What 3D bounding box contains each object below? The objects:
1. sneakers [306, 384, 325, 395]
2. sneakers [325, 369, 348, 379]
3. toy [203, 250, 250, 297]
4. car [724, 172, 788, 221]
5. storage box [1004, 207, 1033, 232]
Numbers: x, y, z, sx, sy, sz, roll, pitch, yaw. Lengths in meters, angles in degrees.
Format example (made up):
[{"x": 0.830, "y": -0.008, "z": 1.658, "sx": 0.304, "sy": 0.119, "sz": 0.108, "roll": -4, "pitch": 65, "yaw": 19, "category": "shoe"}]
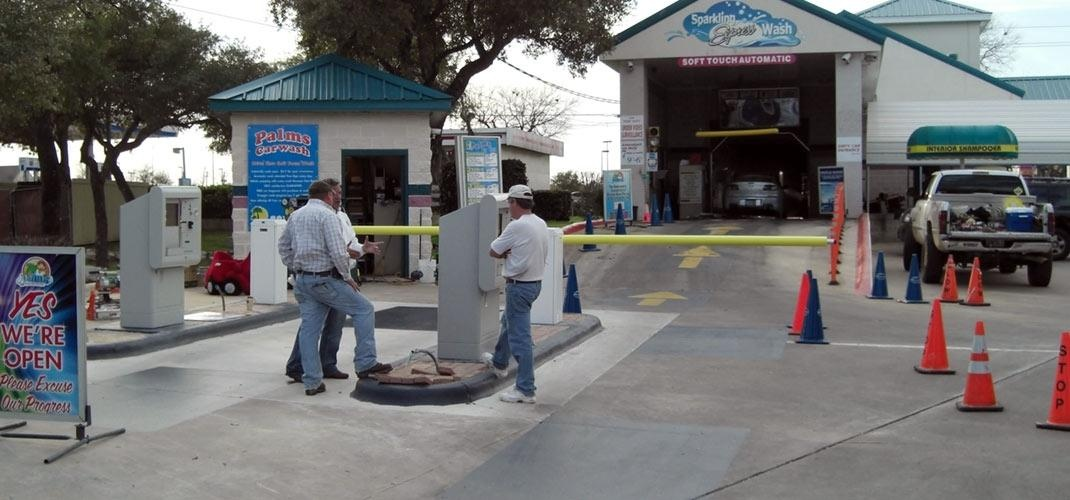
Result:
[{"x": -5.366, "y": 3.467, "z": 20.891, "sx": 0.429, "sy": 0.271, "sz": 0.213, "roll": -18, "pitch": 21, "yaw": -16, "category": "sneakers"}, {"x": -5.054, "y": 3.135, "z": 21.464, "sx": 0.685, "sy": 0.268, "sz": 0.223, "roll": 2, "pitch": 1, "yaw": -6, "category": "sneakers"}, {"x": -9.813, "y": 0.844, "z": 27.303, "sx": 1.687, "sy": 1.307, "sz": 0.779, "roll": 10, "pitch": 16, "yaw": 37, "category": "toy"}, {"x": 10.790, "y": -2.503, "z": 42.081, "sx": 2.836, "sy": 2.007, "sz": 5.346, "roll": 0, "pitch": 0, "yaw": 17, "category": "car"}, {"x": 16.136, "y": -0.985, "z": 28.669, "sx": 0.850, "sy": 0.746, "sz": 0.803, "roll": -1, "pitch": 4, "yaw": 5, "category": "storage box"}]
